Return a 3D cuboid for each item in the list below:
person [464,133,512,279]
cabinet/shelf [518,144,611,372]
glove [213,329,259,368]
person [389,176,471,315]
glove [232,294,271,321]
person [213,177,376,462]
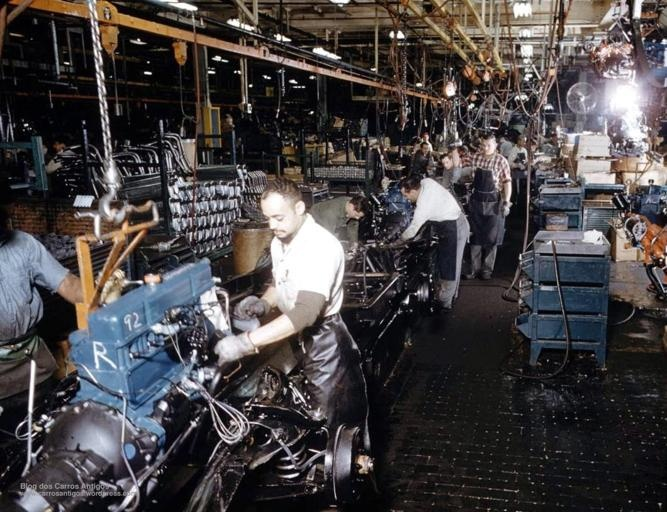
[{"bbox_3d":[2.506,-0.825,8.225,0.665,2.249,0.934,1,14,18],"label":"person"},{"bbox_3d":[3.559,-0.600,7.674,1.128,2.057,6.320,4,16,26],"label":"cabinet/shelf"},{"bbox_3d":[-0.512,0.483,2.631,0.180,0.160,0.077,-21,4,-5],"label":"glove"},{"bbox_3d":[1.273,-0.139,6.661,0.548,1.767,1.238,9,18,42],"label":"person"},{"bbox_3d":[-0.522,0.334,3.272,0.132,0.087,0.182,-5,7,3],"label":"glove"},{"bbox_3d":[-0.172,0.439,3.196,0.856,1.820,0.962,-5,13,-9],"label":"person"}]
